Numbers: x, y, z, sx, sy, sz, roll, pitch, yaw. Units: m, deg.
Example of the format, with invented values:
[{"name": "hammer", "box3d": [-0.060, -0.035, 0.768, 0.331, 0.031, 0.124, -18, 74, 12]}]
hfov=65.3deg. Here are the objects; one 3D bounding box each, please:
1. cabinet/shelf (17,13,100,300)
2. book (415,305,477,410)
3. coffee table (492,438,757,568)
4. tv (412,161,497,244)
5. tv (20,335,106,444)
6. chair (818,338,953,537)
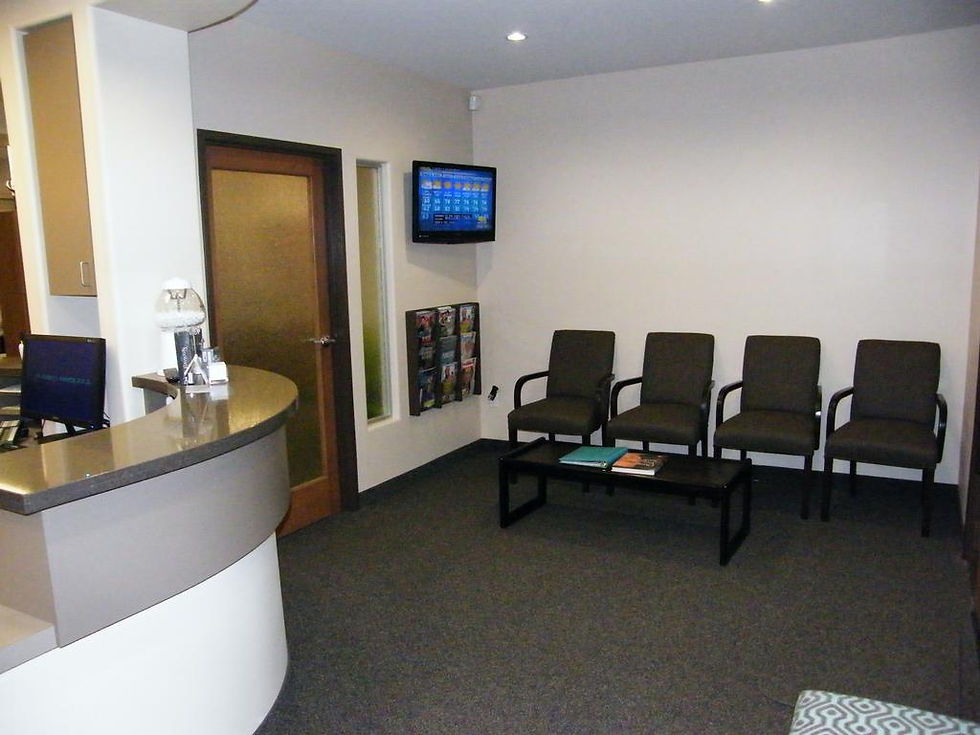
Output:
[{"name": "cabinet/shelf", "box3d": [-2.111, -1.016, 3.762, 0.491, 1.299, 0.196, 10, 18, 40]}, {"name": "book", "box3d": [-0.352, -0.086, 5.801, 0.104, 0.699, 0.755, 4, 7, 31]}, {"name": "coffee table", "box3d": [0.845, 0.788, 4.817, 1.506, 0.487, 0.689, 5, 16, 24]}, {"name": "tv", "box3d": [-0.249, -1.222, 5.716, 0.046, 0.607, 0.864, 11, 19, 41]}, {"name": "tv", "box3d": [-1.966, 0.090, 3.546, 0.505, 0.529, 0.188, 0, -6, 19]}, {"name": "chair", "box3d": [2.511, 0.412, 4.872, 0.676, 1.051, 0.848, 7, 17, 32]}]
